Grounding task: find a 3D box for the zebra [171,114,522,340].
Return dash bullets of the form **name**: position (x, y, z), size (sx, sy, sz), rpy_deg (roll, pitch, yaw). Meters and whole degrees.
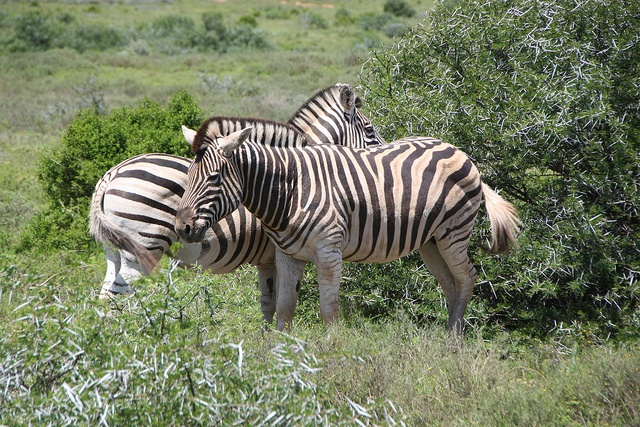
- **zebra**: position (0.210, 0.156, 7.737), size (3.616, 2.501, 1.282), rpy_deg (0, 32, -10)
